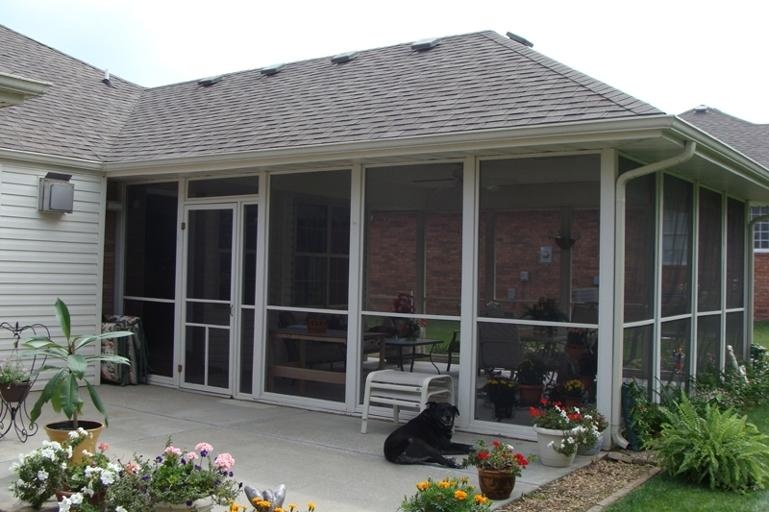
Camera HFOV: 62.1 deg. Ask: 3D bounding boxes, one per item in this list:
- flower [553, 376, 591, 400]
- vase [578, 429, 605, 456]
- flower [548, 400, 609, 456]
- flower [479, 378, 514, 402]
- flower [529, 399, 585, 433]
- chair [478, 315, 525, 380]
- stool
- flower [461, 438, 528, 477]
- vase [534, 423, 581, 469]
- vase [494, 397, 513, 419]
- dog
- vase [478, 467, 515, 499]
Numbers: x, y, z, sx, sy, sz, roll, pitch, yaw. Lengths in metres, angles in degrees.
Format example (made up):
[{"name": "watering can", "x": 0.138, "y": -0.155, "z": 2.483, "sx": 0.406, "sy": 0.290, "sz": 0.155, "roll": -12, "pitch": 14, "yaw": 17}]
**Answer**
[{"name": "flower", "x": 2.265, "y": 1.595, "z": 7.745, "sx": 0.336, "sy": 0.196, "sz": 0.306, "roll": -2, "pitch": -3, "yaw": 0}, {"name": "vase", "x": 2.392, "y": 2.178, "z": 7.393, "sx": 0.293, "sy": 0.222, "sz": 0.376, "roll": -2, "pitch": 1, "yaw": 40}, {"name": "flower", "x": 2.219, "y": 1.968, "z": 7.322, "sx": 0.693, "sy": 0.449, "sz": 0.710, "roll": 0, "pitch": 0, "yaw": -9}, {"name": "flower", "x": 1.423, "y": 1.693, "z": 8.099, "sx": 0.346, "sy": 0.175, "sz": 0.328, "roll": -4, "pitch": -7, "yaw": 25}, {"name": "flower", "x": 1.922, "y": 1.852, "z": 7.346, "sx": 0.468, "sy": 0.210, "sz": 0.458, "roll": 3, "pitch": -5, "yaw": -37}, {"name": "chair", "x": 1.579, "y": 1.193, "z": 8.349, "sx": 0.629, "sy": 0.680, "sz": 0.680, "roll": 0, "pitch": -9, "yaw": 16}, {"name": "stool", "x": 0.320, "y": 1.714, "z": 8.232, "sx": 1.197, "sy": 0.757, "sz": 0.851, "roll": -3, "pitch": -11, "yaw": 27}, {"name": "flower", "x": 1.079, "y": 2.008, "z": 6.496, "sx": 0.663, "sy": 0.289, "sz": 0.524, "roll": 3, "pitch": 0, "yaw": -5}, {"name": "vase", "x": 1.911, "y": 2.146, "z": 7.242, "sx": 0.490, "sy": 0.304, "sz": 0.468, "roll": -4, "pitch": -8, "yaw": 27}, {"name": "vase", "x": 1.469, "y": 1.953, "z": 8.209, "sx": 0.305, "sy": 0.241, "sz": 0.245, "roll": -1, "pitch": -6, "yaw": 3}, {"name": "dog", "x": 0.492, "y": 2.068, "z": 7.433, "sx": 1.047, "sy": 0.552, "sz": 0.657, "roll": -9, "pitch": -7, "yaw": 11}, {"name": "vase", "x": 1.067, "y": 2.244, "z": 6.332, "sx": 0.346, "sy": 0.207, "sz": 0.336, "roll": 5, "pitch": -9, "yaw": -39}]
